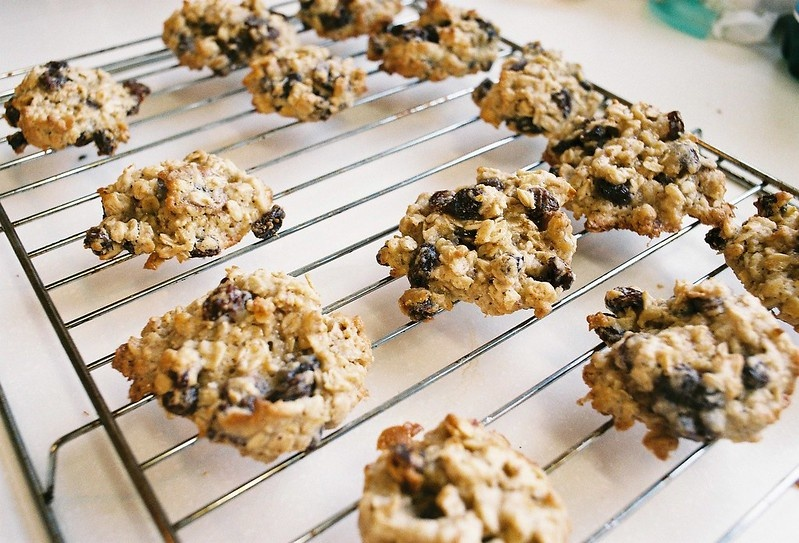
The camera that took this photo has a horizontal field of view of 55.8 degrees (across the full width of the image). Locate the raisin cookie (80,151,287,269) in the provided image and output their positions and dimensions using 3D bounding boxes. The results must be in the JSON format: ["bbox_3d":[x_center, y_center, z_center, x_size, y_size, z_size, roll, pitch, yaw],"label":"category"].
[{"bbox_3d":[-0.632,-0.173,2.244,0.565,0.288,0.309,-3,53,-7],"label":"raisin cookie"}]
